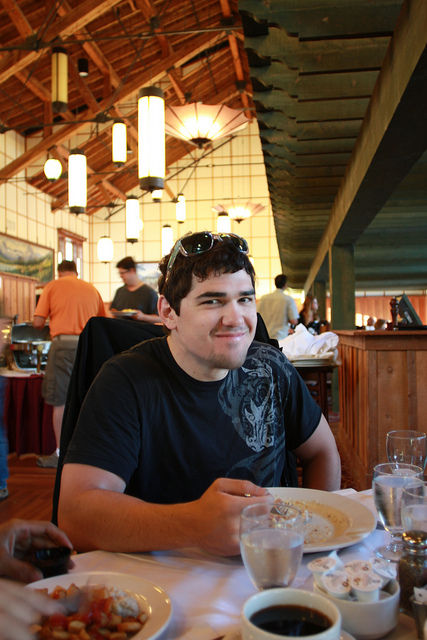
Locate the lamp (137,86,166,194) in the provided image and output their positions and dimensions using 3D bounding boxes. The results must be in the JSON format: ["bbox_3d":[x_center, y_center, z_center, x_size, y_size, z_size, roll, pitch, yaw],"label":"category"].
[{"bbox_3d":[-0.347,-1.025,2.829,0.122,0.694,0.146,2,3,-3],"label":"lamp"}]

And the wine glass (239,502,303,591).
[{"bbox_3d":[0.071,0.285,0.595,0.072,0.120,0.076,-1,-4,-5],"label":"wine glass"}]

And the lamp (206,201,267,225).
[{"bbox_3d":[0.594,-2.314,10.901,1.386,0.558,0.793,-1,3,4],"label":"lamp"}]

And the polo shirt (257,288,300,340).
[{"bbox_3d":[0.664,-0.067,5.424,0.332,0.582,0.466,5,-8,-36],"label":"polo shirt"}]

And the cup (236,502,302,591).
[{"bbox_3d":[0.071,0.281,0.598,0.068,0.115,0.074,-1,1,0],"label":"cup"}]

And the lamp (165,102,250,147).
[{"bbox_3d":[-0.098,-2.287,5.811,1.090,0.544,0.887,0,4,1],"label":"lamp"}]
